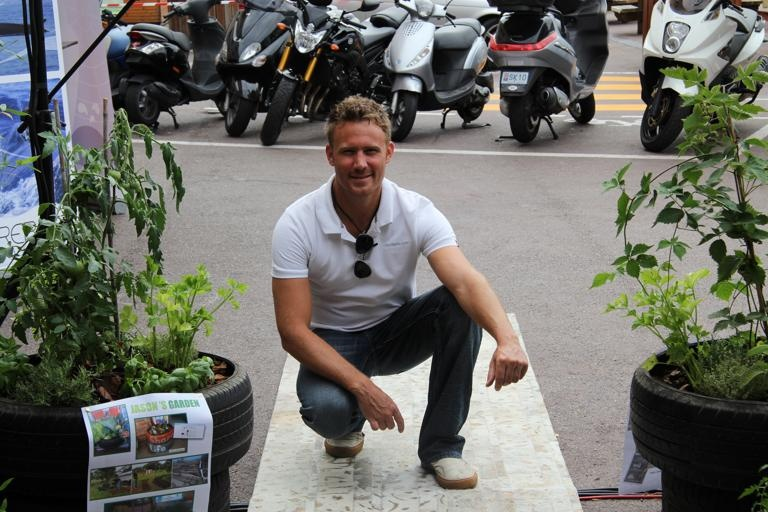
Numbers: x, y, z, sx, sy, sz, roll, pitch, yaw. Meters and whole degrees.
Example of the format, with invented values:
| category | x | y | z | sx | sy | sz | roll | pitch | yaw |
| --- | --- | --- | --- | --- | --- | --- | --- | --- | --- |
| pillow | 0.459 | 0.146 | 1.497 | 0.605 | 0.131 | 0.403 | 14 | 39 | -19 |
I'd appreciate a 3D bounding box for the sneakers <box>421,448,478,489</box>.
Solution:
| category | x | y | z | sx | sy | sz | roll | pitch | yaw |
| --- | --- | --- | --- | --- | --- | --- | --- | --- | --- |
| sneakers | 0.327 | 0.973 | 2.750 | 0.165 | 0.107 | 0.332 | -7 | -8 | -2 |
